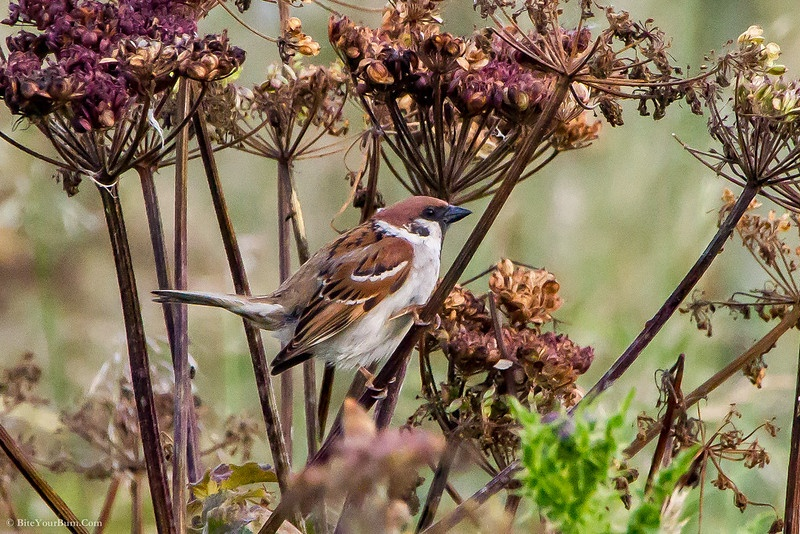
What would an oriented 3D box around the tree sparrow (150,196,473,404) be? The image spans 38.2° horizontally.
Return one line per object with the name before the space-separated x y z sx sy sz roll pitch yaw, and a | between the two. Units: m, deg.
tree sparrow | -0.492 0.158 6.253 1.636 1.029 0.581 -3 2 -13
